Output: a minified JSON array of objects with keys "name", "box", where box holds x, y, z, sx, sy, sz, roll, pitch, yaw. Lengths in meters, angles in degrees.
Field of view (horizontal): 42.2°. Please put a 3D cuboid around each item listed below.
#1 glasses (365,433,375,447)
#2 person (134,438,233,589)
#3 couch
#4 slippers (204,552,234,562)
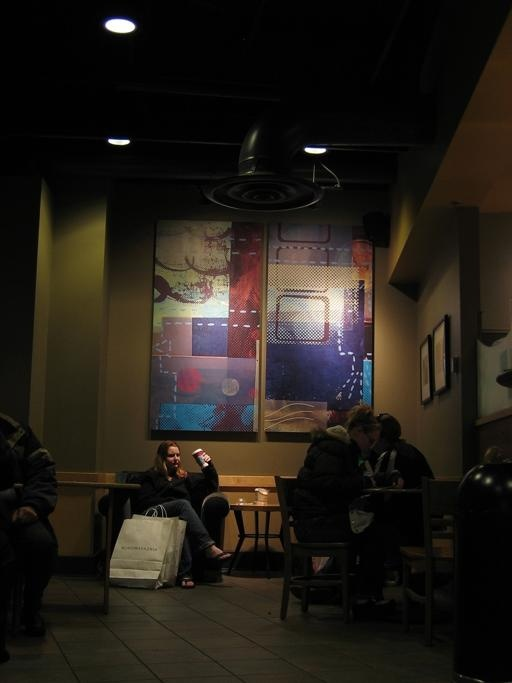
[{"name":"glasses","box":[0.705,0.612,4.080,0.040,0.078,0.058,12,-13,9]},{"name":"person","box":[-0.572,1.396,5.571,1.081,1.173,0.678,-15,-25,41]},{"name":"couch","box":[-0.640,1.456,5.650,1.197,1.117,0.988,-7,-15,30]},{"name":"slippers","box":[-0.285,1.661,5.083,0.083,0.054,0.204,11,-22,-43]}]
